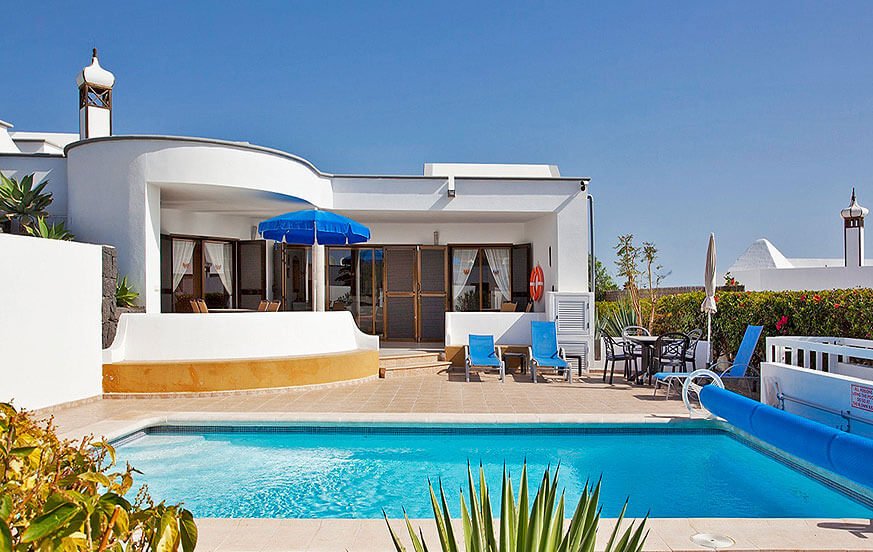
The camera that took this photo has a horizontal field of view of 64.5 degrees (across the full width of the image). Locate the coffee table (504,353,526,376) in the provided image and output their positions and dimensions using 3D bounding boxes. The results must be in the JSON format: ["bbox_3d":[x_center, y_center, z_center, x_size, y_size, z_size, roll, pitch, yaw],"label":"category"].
[{"bbox_3d":[2.476,2.685,21.439,0.604,0.488,0.599,0,-3,5],"label":"coffee table"}]

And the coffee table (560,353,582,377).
[{"bbox_3d":[4.135,2.687,20.846,0.623,0.662,0.646,0,-7,0],"label":"coffee table"}]

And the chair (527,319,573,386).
[{"bbox_3d":[3.390,2.184,20.533,1.216,1.691,1.857,0,-1,7],"label":"chair"}]

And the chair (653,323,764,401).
[{"bbox_3d":[7.504,1.980,17.921,1.755,1.322,0.922,-4,-2,-2],"label":"chair"}]

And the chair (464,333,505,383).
[{"bbox_3d":[1.355,2.320,20.213,1.125,1.164,1.798,1,1,3],"label":"chair"}]
